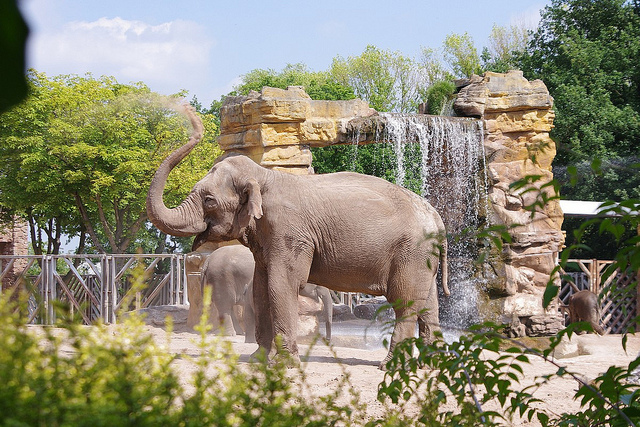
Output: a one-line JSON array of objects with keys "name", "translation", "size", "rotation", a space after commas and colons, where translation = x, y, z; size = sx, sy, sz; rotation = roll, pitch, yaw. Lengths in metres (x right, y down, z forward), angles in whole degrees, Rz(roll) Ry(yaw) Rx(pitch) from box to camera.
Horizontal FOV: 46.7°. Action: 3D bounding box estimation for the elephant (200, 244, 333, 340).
[{"name": "elephant", "translation": [-0.472, 1.182, 11.941], "size": [2.511, 1.886, 1.200], "rotation": [3, -2, -24]}]
